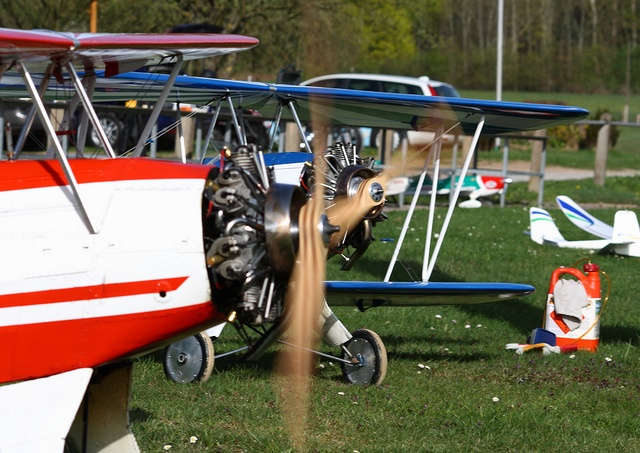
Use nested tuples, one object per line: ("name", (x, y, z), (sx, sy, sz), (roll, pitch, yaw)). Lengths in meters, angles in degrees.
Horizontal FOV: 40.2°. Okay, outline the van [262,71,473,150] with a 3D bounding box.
("van", (0.963, -2.398, 15.825), (3.792, 1.177, 1.845), (4, 2, 9))
